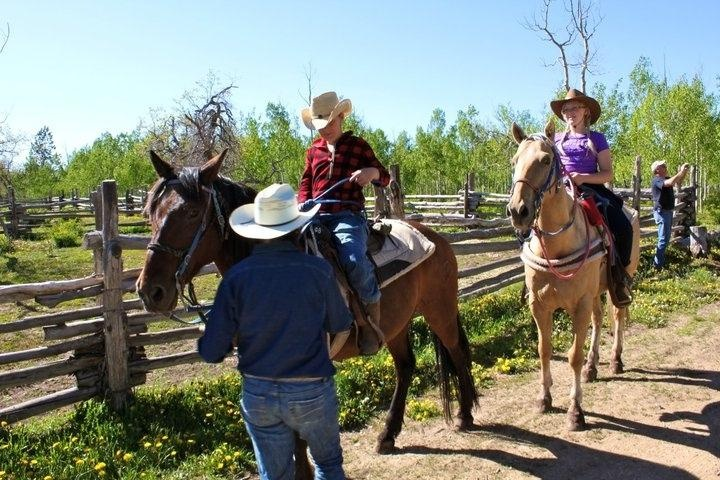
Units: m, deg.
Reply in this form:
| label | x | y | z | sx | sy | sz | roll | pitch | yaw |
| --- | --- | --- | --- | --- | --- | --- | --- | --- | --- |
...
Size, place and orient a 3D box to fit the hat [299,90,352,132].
| label | x | y | z | sx | sy | sz | roll | pitch | yaw |
| --- | --- | --- | --- | --- | --- | --- | --- | --- | --- |
| hat | -0.521 | -1.660 | 6.974 | 0.542 | 0.345 | 0.657 | -20 | 13 | -10 |

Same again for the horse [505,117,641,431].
| label | x | y | z | sx | sy | sz | roll | pitch | yaw |
| --- | --- | --- | --- | --- | --- | --- | --- | --- | --- |
| horse | 3.179 | 0.451 | 8.147 | 3.009 | 4.372 | 0.916 | -7 | 8 | -43 |

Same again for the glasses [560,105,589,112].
| label | x | y | z | sx | sy | sz | roll | pitch | yaw |
| --- | --- | --- | --- | --- | --- | --- | --- | --- | --- |
| glasses | 3.304 | -2.049 | 8.331 | 0.296 | 0.162 | 0.104 | -1 | 6 | 10 |

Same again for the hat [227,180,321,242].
| label | x | y | z | sx | sy | sz | roll | pitch | yaw |
| --- | --- | --- | --- | --- | --- | --- | --- | --- | --- |
| hat | -0.933 | -0.361 | 5.900 | 0.597 | 0.295 | 0.767 | -6 | 31 | 10 |
